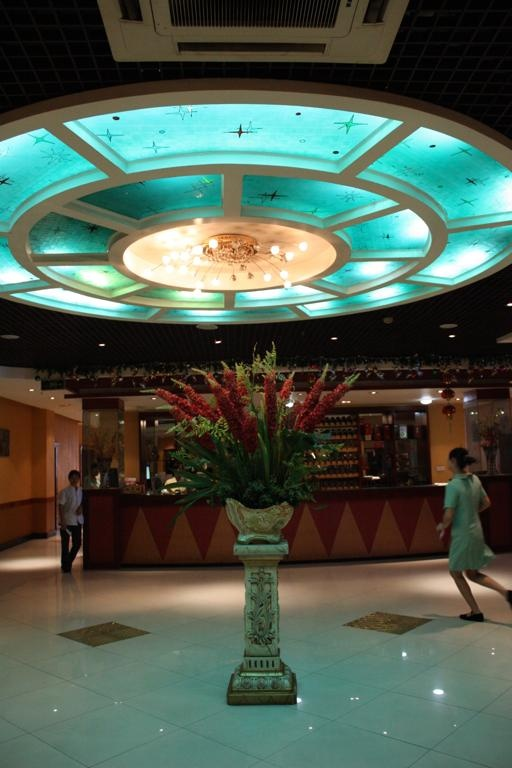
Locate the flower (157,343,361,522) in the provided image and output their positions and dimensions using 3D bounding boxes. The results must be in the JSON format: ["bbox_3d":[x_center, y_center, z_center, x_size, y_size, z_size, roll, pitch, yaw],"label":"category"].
[{"bbox_3d":[-0.094,0.185,3.217,0.895,0.989,0.847,19,-8,-27],"label":"flower"}]

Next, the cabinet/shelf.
[{"bbox_3d":[3.238,1.960,14.045,2.709,2.478,1.018,-4,-33,18],"label":"cabinet/shelf"}]

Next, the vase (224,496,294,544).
[{"bbox_3d":[0.039,0.823,3.067,0.490,0.325,0.254,-1,-1,8],"label":"vase"}]

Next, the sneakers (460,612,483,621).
[{"bbox_3d":[2.010,2.158,4.608,0.206,0.079,0.159,-5,-10,23],"label":"sneakers"}]

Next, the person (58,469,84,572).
[{"bbox_3d":[-3.018,2.246,8.069,0.349,1.643,0.537,1,-10,-16],"label":"person"}]

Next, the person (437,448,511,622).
[{"bbox_3d":[2.219,1.482,5.097,0.609,1.641,1.468,-5,-10,19],"label":"person"}]
